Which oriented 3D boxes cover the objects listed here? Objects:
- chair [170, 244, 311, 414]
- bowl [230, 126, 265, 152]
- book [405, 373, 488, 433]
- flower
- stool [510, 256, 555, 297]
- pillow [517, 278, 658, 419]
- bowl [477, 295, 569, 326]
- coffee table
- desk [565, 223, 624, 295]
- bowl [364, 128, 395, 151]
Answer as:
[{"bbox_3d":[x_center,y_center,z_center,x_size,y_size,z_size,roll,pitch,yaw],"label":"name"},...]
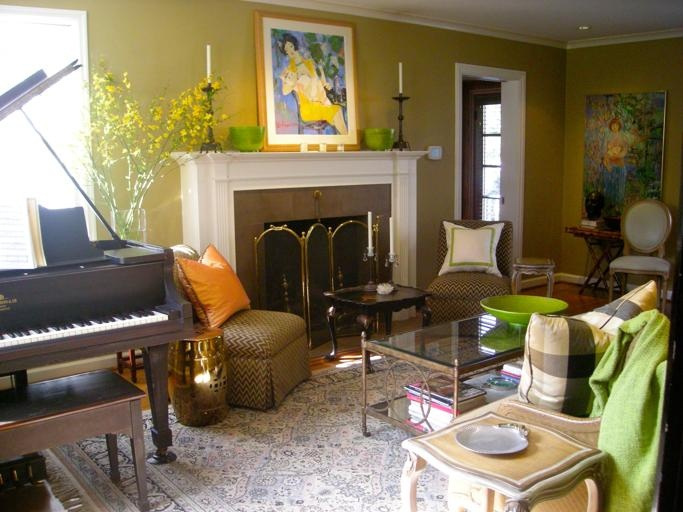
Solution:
[{"bbox_3d":[-0.724,0.439,4.146,1.010,1.256,0.978,1,8,19],"label":"chair"},{"bbox_3d":[-0.775,-0.950,4.455,0.238,0.167,0.240,-1,1,0],"label":"bowl"},{"bbox_3d":[0.582,0.820,3.068,0.341,0.114,0.324,-6,8,-38],"label":"book"},{"bbox_3d":[-1.503,-0.954,4.479,1.028,1.189,1.045,4,7,14],"label":"flower"},{"bbox_3d":[2.064,0.223,5.872,0.398,0.438,0.401,1,11,6],"label":"stool"},{"bbox_3d":[1.133,0.418,2.519,0.588,0.537,0.224,-2,15,-23],"label":"pillow"},{"bbox_3d":[1.280,0.354,3.753,0.348,0.105,0.352,-1,6,0],"label":"bowl"},{"bbox_3d":[0.612,0.571,3.251,0.638,0.571,1.008,6,10,41],"label":"coffee table"},{"bbox_3d":[3.057,0.015,6.687,0.745,0.781,0.798,6,9,35],"label":"desk"},{"bbox_3d":[0.367,-1.119,5.184,0.306,0.216,0.279,-1,12,0],"label":"bowl"}]
